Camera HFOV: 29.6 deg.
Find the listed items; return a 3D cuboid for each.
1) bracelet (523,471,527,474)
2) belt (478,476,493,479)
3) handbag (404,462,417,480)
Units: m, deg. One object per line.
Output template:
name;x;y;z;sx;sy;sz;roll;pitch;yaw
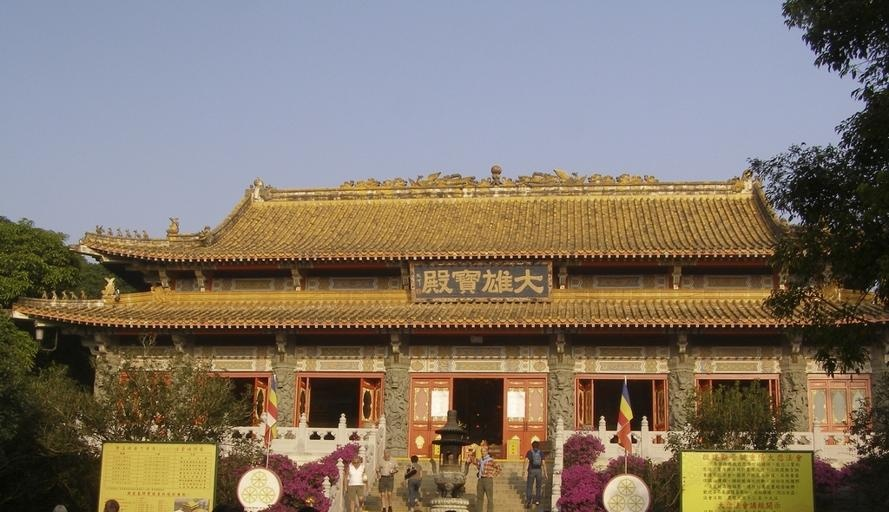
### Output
bracelet;2.607;7.152;55.079;0.098;0.125;0.036;1;-4;30
belt;1.268;7.057;53.321;0.390;0.095;0.187;-1;-15;2
handbag;-1.112;7.006;53.720;0.337;0.317;0.772;-3;-33;-23
